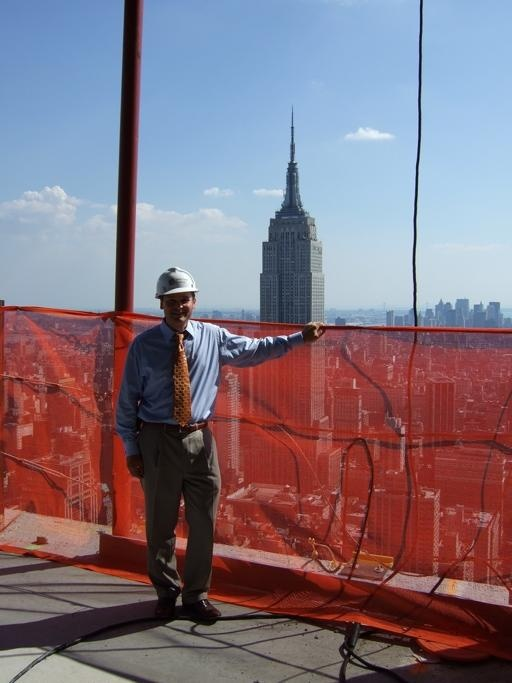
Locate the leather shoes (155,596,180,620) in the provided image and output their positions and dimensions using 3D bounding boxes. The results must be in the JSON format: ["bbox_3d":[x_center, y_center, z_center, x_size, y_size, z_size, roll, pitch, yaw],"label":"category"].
[{"bbox_3d":[-0.378,1.107,3.043,0.046,0.059,0.128,2,-3,0],"label":"leather shoes"}]

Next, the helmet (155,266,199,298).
[{"bbox_3d":[-0.325,-0.245,3.016,0.120,0.083,0.151,0,3,-17],"label":"helmet"}]

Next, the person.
[{"bbox_3d":[-0.237,0.467,3.089,0.695,1.343,0.286,-1,4,-12],"label":"person"}]

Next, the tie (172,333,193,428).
[{"bbox_3d":[-0.304,0.161,3.009,0.065,0.378,0.103,-1,4,-4],"label":"tie"}]

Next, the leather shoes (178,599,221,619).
[{"bbox_3d":[-0.237,1.097,3.064,0.169,0.073,0.065,0,-1,25],"label":"leather shoes"}]
